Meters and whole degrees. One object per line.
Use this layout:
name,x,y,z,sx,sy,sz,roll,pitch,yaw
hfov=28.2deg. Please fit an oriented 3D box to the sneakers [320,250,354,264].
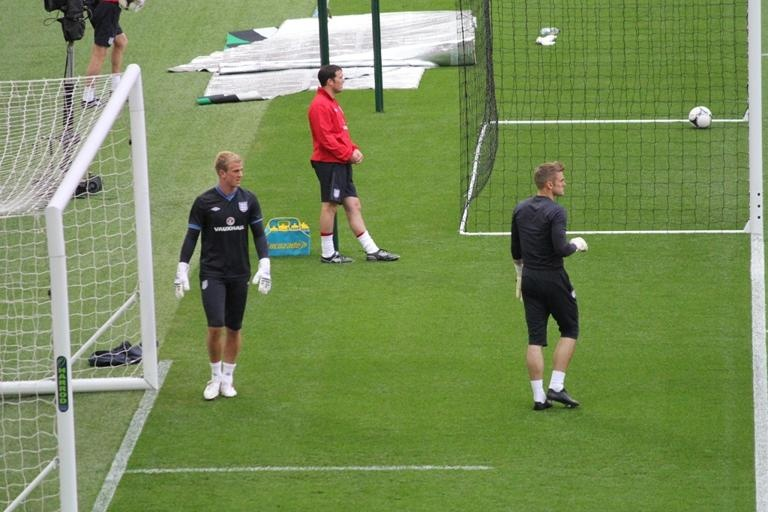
sneakers,-0.662,0.010,21.334,0.464,0.180,0.161,-2,8,-10

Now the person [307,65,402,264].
person,-0.572,-1.240,21.033,0.871,2.764,0.514,-6,12,-1

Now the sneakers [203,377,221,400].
sneakers,-2.103,1.632,18.638,0.139,0.146,0.357,1,11,4

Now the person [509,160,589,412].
person,1.949,0.365,18.269,0.781,2.891,0.771,-5,12,4

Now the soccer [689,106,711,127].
soccer,5.158,-2.251,24.963,0.351,0.338,0.376,-4,12,4

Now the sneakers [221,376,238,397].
sneakers,-1.894,1.586,18.665,0.137,0.140,0.323,-3,10,-22

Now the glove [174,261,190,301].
glove,-2.455,0.290,18.543,0.191,0.484,0.578,-7,12,-8

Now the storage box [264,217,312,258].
storage box,-1.358,-0.288,21.814,0.730,0.467,0.532,-4,12,3

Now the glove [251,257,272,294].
glove,-1.484,0.244,18.650,0.330,0.452,0.201,-3,3,-6

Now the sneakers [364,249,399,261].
sneakers,-0.036,-0.024,21.315,0.472,0.173,0.167,0,8,-2

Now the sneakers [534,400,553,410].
sneakers,1.896,1.778,18.298,0.231,0.097,0.087,-10,17,-35

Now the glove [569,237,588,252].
glove,2.298,-0.112,18.221,0.197,0.089,0.230,14,13,-6
